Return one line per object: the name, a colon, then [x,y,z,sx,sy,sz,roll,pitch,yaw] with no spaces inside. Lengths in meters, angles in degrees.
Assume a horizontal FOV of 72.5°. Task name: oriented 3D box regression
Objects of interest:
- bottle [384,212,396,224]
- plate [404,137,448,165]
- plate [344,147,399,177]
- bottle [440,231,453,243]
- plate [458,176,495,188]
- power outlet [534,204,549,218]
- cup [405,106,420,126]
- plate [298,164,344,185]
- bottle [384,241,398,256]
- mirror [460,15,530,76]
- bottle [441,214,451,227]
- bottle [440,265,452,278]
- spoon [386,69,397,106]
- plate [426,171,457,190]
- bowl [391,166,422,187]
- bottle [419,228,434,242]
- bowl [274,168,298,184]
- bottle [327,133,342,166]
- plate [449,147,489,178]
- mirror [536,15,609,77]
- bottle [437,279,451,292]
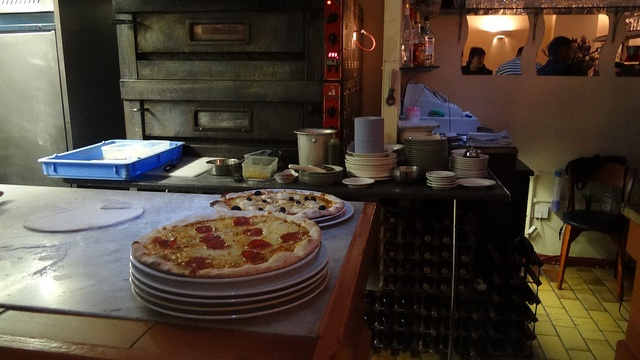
bottle: [0.624,0.339,3.909,0.123,0.102,0.084,1,16,6]
plate: [0.966,-0.256,3.929,0.326,0.170,0.296,-4,9,-18]
plate: [0.451,-0.126,3.873,0.447,0.230,0.164,-1,16,0]
bottle: [1.105,0.504,3.822,0.116,0.094,0.092,-1,18,5]
plate: [1.320,0.025,3.704,0.318,0.055,0.227,3,15,15]
power outlet: [2.894,0.399,5.699,0.215,0.176,0.101,0,6,12]
cup: [1.018,-0.699,4.785,0.255,0.232,0.232,0,3,8]
plate: [0.011,-0.037,3.839,0.364,0.127,0.257,-7,16,-24]
bottle: [0.641,0.623,3.927,0.127,0.121,0.076,1,16,9]
mirror: [2.280,-1.755,5.594,0.050,0.791,0.877,-25,31,-30]
bottle: [1.113,0.357,3.847,0.113,0.023,0.089,-5,51,5]
bottle: [1.098,0.801,3.846,0.116,0.134,0.054,1,17,7]
spoon: [0.662,-0.858,4.074,0.100,0.332,0.054,-8,18,-20]
plate: [1.000,0.000,3.665,0.181,0.071,0.183,11,18,42]
bowl: [0.766,-0.047,3.859,0.240,0.124,0.268,2,15,10]
bottle: [0.939,0.493,3.841,0.133,0.092,0.124,1,-6,0]
bowl: [-0.287,-0.027,3.881,0.176,0.087,0.295,4,15,17]
bottle: [0.129,-0.266,4.074,0.119,0.269,0.203,0,16,5]
plate: [1.322,-0.158,3.871,0.289,0.159,0.274,6,15,25]
mirror: [3.103,-1.564,5.495,0.704,0.502,0.149,-1,17,2]
bottle: [1.095,0.941,3.866,0.087,0.090,0.351,-4,-3,11]
